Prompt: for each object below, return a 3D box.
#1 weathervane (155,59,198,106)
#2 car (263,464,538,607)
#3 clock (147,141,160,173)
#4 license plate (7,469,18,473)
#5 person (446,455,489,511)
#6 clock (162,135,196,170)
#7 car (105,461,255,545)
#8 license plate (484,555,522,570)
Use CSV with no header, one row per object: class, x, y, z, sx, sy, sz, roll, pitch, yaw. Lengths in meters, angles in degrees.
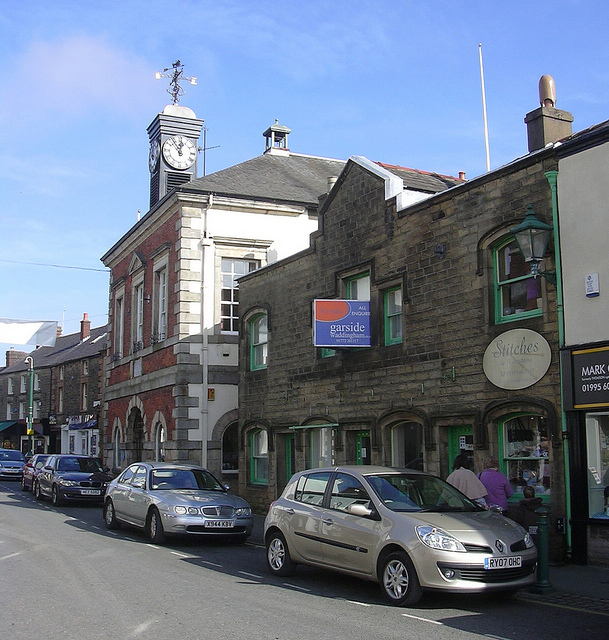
weathervane,-5.125,-9.433,33.518,1.573,2.043,1.751,12,12,16
car,1.078,2.624,10.557,1.786,1.530,3.791,7,-13,-35
clock,-6.045,-6.512,33.485,0.285,1.640,1.976,2,-11,-15
license plate,-12.664,6.576,36.268,0.415,0.111,0.124,4,-11,-21
person,2.308,2.300,11.728,0.464,0.866,0.343,-6,-7,17
clock,-4.944,-6.492,32.616,1.264,1.517,0.183,4,-12,-32
car,-2.399,3.360,15.358,1.287,0.927,2.752,9,-14,-25
license plate,2.154,2.626,9.046,0.556,0.127,0.051,7,-12,-34
